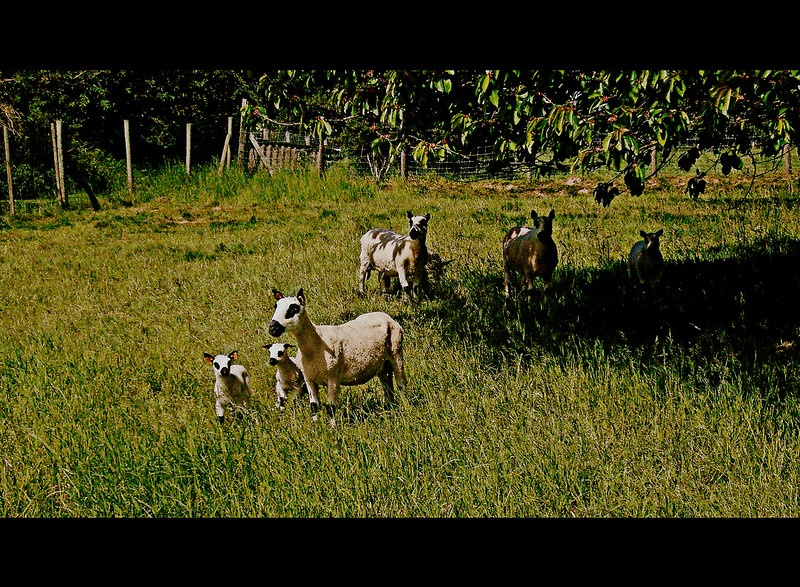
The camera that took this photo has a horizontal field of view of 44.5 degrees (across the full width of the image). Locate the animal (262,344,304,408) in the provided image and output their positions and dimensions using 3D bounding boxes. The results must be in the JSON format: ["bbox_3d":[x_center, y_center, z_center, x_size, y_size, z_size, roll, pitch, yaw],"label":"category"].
[{"bbox_3d":[-0.713,0.594,6.544,0.165,0.458,0.696,-5,-9,11],"label":"animal"}]

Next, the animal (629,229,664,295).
[{"bbox_3d":[1.858,-0.265,7.334,0.189,0.477,0.698,-4,9,7],"label":"animal"}]

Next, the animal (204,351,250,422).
[{"bbox_3d":[-1.135,0.613,6.549,0.221,0.466,0.299,11,14,39],"label":"animal"}]

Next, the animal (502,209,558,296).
[{"bbox_3d":[0.990,-0.260,7.439,0.320,0.705,1.031,-2,-1,-10],"label":"animal"}]

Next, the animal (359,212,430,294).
[{"bbox_3d":[-0.025,-0.255,7.397,0.305,0.679,0.809,-2,4,-38],"label":"animal"}]

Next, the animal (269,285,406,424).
[{"bbox_3d":[-0.363,0.424,6.314,1.034,0.881,0.349,-5,3,-43],"label":"animal"}]
